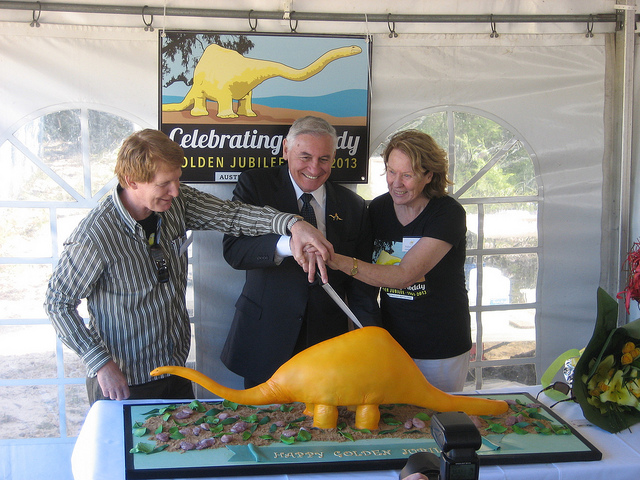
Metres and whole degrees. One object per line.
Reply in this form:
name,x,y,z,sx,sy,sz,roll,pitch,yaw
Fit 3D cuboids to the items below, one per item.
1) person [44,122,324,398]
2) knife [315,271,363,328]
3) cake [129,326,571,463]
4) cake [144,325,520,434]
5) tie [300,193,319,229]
person,-0.669,0.057,3.102,0.839,1.236,0.881,16,36,19
knife,0.087,0.287,3.162,0.019,0.366,0.041,-30,-14,-41
cake,0.060,0.600,2.634,1.647,0.484,0.365,0,1,-2
cake,0.070,0.580,2.702,1.525,0.427,0.327,1,1,-10
tie,-0.057,-0.147,3.237,0.064,0.180,0.036,-12,3,-9
